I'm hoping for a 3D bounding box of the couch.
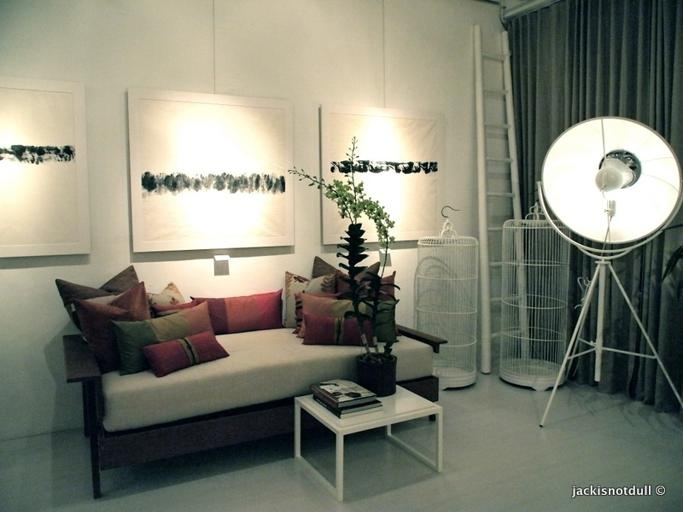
[{"bbox_3d":[-0.558,0.948,4.280,2.851,0.855,0.973,-5,16,-19],"label":"couch"}]

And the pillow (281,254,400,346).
[{"bbox_3d":[-0.230,0.358,4.645,0.735,0.716,0.220,6,-11,-6],"label":"pillow"}]

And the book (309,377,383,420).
[{"bbox_3d":[0.042,0.969,3.769,0.303,0.069,0.298,0,7,-32],"label":"book"}]

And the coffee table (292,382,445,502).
[{"bbox_3d":[0.176,1.081,3.815,0.856,0.448,0.665,-2,3,-29],"label":"coffee table"}]

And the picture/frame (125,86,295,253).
[{"bbox_3d":[-1.056,-0.708,4.635,1.392,1.298,0.245,-6,16,-21],"label":"picture/frame"}]
